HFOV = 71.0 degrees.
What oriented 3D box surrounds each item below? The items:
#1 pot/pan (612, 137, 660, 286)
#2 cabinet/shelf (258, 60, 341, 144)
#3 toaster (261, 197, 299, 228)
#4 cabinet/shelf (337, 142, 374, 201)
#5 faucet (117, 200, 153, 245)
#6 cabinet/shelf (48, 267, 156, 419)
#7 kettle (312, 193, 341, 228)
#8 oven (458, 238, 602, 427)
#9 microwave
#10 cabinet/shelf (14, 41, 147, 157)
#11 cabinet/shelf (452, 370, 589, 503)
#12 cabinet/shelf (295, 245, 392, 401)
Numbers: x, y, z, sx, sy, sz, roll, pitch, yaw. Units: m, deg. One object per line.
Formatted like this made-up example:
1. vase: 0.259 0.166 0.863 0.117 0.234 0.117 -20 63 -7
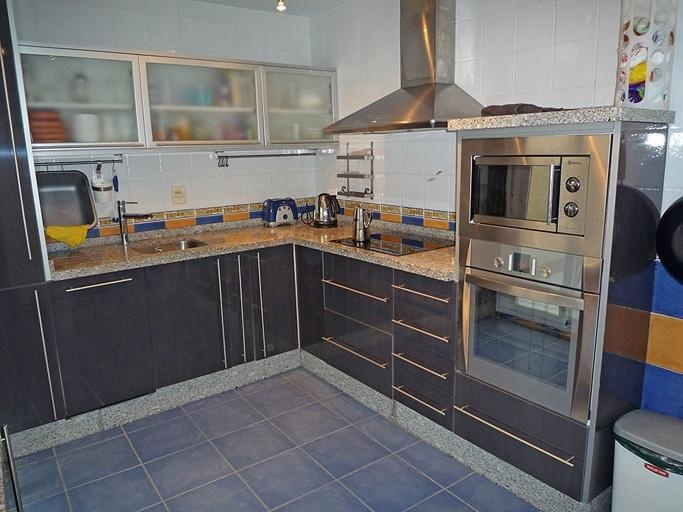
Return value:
1. pot/pan: 1.320 -0.156 2.190 0.138 0.563 0.399 -2 -2 45
2. cabinet/shelf: -0.286 -1.245 4.030 0.754 0.685 0.261 7 23 25
3. toaster: -0.529 -0.386 4.192 0.310 0.227 0.234 -8 14 -16
4. cabinet/shelf: 0.121 -0.702 4.126 0.137 0.416 0.421 -8 14 -33
5. faucet: -1.515 -0.250 3.561 0.323 0.314 0.087 3 7 26
6. cabinet/shelf: -1.527 0.594 3.336 0.630 0.852 0.612 -12 -11 -1
7. kettle: -0.109 -0.391 4.083 0.282 0.286 0.207 2 8 42
8. oven: 1.107 0.289 2.598 0.635 0.872 0.793 -11 16 -29
9. microwave: 1.057 -0.337 2.451 0.510 0.553 0.800 -9 15 -31
10. cabinet/shelf: -1.775 -1.029 3.218 0.315 0.672 0.839 8 18 23
11. cabinet/shelf: 1.064 0.886 2.657 0.474 0.441 0.755 -18 21 -38
12. cabinet/shelf: 0.039 0.461 3.393 0.494 0.808 0.949 -9 17 -39
